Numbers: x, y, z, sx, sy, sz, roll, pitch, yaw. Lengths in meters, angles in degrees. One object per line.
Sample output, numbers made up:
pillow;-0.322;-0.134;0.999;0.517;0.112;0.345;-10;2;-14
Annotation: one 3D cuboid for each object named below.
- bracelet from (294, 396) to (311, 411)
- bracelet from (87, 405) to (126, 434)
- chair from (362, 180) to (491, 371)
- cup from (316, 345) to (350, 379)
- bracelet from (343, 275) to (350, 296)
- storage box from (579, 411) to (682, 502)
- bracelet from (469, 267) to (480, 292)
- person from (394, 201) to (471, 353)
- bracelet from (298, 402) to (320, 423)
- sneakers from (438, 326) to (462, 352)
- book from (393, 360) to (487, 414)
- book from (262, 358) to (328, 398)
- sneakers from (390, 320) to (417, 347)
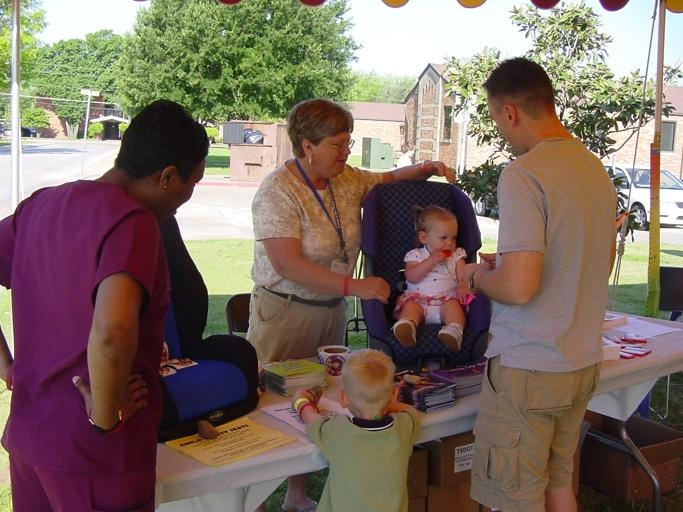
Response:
bracelet;-0.151;0.584;2.173;0.040;0.055;0.045;13;6;-15
bracelet;-0.641;0.437;1.497;0.063;0.079;0.030;-3;2;-11
chair;0.378;0.076;2.995;0.601;0.806;0.713;10;24;10
cup;-0.024;0.498;2.576;0.100;0.117;0.161;0;-5;-4
bracelet;0.023;0.136;2.558;0.049;0.067;0.066;-2;7;5
storage box;1.741;1.222;3.500;0.524;0.419;0.635;-2;4;-31
bracelet;0.534;0.099;2.237;0.067;0.068;0.065;5;21;8
person;0.521;0.101;2.942;0.405;0.644;0.890;2;13;15
bracelet;-0.125;0.604;2.118;0.071;0.058;0.095;2;12;-22
sneakers;0.548;0.401;2.761;0.083;0.145;0.082;3;35;22
book;0.428;0.556;2.342;0.277;0.074;0.204;-5;5;-28
book;-0.210;0.540;2.481;0.169;0.060;0.166;-4;6;-45
sneakers;0.321;0.382;2.773;0.082;0.154;0.065;-5;22;4
